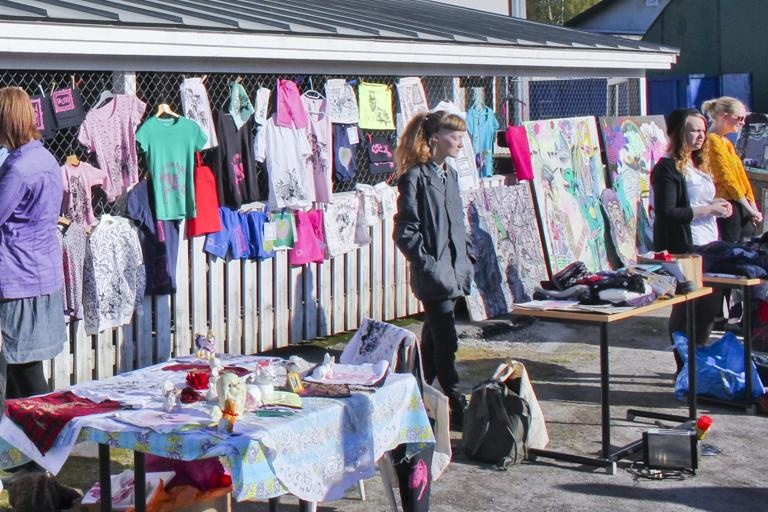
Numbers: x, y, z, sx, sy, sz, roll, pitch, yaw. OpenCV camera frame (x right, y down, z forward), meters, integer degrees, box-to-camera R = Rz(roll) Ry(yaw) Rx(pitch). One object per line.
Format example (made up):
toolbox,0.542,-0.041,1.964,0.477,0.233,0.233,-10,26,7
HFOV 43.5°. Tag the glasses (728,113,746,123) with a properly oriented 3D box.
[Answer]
glasses,3.849,-1.513,10.483,0.164,0.056,0.158,6,7,44

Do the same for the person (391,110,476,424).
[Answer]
person,0.464,0.125,8.801,0.706,2.868,0.594,1,13,7

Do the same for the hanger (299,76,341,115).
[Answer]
hanger,-0.733,-1.842,11.069,0.462,0.566,0.042,-21,-1,-39

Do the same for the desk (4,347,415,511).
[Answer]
desk,-0.985,1.302,6.619,2.661,0.664,1.086,0,14,2

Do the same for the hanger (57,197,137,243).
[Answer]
hanger,-2.841,-0.377,9.431,0.497,0.323,0.378,-6,6,-24

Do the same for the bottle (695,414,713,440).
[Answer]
bottle,2.829,1.523,8.496,0.123,0.219,0.137,32,47,23
